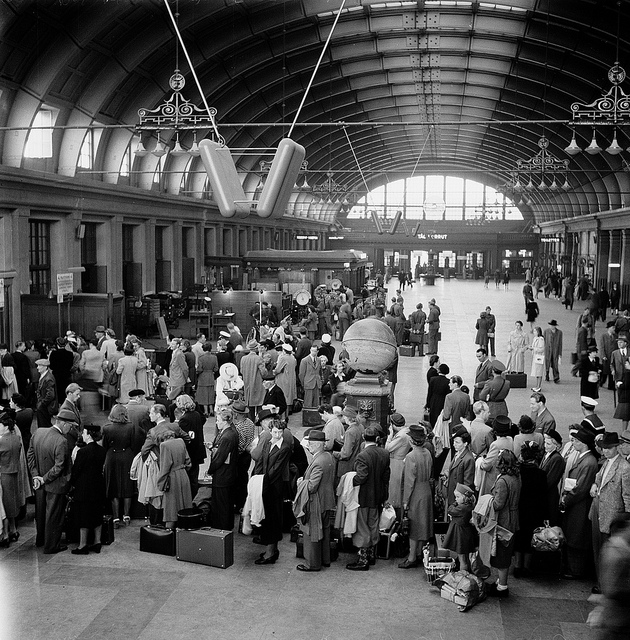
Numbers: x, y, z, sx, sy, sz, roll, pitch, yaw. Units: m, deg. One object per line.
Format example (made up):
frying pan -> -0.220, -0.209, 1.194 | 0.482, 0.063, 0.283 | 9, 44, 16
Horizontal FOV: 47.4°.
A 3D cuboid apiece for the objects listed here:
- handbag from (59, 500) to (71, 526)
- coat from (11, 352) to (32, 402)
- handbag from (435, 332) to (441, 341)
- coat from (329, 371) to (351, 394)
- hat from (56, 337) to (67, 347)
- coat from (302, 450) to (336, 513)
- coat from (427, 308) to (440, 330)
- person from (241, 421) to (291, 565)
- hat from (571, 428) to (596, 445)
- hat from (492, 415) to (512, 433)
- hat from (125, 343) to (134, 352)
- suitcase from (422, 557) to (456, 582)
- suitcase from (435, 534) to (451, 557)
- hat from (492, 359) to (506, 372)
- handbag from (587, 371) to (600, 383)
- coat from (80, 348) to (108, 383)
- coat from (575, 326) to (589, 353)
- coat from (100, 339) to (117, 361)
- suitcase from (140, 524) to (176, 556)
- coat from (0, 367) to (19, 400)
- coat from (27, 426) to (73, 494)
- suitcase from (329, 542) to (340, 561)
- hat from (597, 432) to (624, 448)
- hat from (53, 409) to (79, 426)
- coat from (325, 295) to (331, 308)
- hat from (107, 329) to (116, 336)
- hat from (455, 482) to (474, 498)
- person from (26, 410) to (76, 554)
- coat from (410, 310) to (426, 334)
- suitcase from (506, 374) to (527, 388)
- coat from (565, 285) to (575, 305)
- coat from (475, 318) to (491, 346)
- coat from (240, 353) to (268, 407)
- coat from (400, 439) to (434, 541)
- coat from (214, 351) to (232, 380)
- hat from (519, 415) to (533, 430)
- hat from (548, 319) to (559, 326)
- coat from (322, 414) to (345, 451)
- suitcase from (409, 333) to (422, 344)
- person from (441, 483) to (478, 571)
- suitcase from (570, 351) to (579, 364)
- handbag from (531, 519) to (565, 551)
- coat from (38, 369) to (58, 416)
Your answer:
handbag -> -3.047, 2.341, 8.631 | 0.056, 0.253, 0.251 | 16, -36, 3
coat -> -5.897, 1.113, 14.208 | 0.357, 1.252, 0.275 | 10, -43, -38
handbag -> 4.212, 0.564, 24.647 | 0.174, 0.376, 0.357 | 2, 5, 26
coat -> 0.521, 1.310, 15.275 | 0.482, 0.633, 0.314 | 0, -3, -3
hat -> -5.325, 0.426, 14.970 | 0.090, 0.241, 0.216 | -4, -9, 40
coat -> 0.070, 1.828, 8.137 | 0.210, 0.703, 0.515 | 0, -3, 38
coat -> 3.896, -0.048, 24.167 | 0.490, 0.855, 0.626 | 5, 10, 25
person -> -0.540, 2.018, 8.442 | 0.514, 1.652, 0.369 | 2, -2, -20
hat -> 2.984, 1.305, 8.007 | 0.246, 0.186, 0.309 | 0, -3, 22
hat -> 2.183, 1.223, 8.403 | 0.195, 0.185, 0.341 | 1, -3, 14
hat -> -3.745, 0.555, 14.436 | 0.162, 0.163, 0.197 | 2, -2, -15
suitcase -> 1.358, 2.720, 7.868 | 0.205, 0.227, 0.304 | 0, -3, 0
suitcase -> 1.446, 2.576, 8.148 | 0.070, 0.264, 0.269 | 25, -5, -4
hat -> 3.387, 0.852, 13.243 | 0.206, 0.207, 0.424 | 1, -3, 14
handbag -> 6.097, 1.237, 15.726 | 0.204, 0.244, 0.221 | 5, -17, 11
coat -> -4.745, 0.966, 15.299 | 0.498, 0.744, 0.351 | 2, -2, -17
coat -> 6.976, 0.500, 18.756 | 0.264, 0.659, 0.606 | 1, -2, 20
coat -> -4.444, 0.647, 15.398 | 0.108, 0.374, 0.381 | 9, 6, 33
suitcase -> -1.897, 2.676, 8.696 | 0.533, 0.308, 0.152 | 1, -2, 18
coat -> -5.867, 1.215, 13.878 | 0.223, 0.598, 0.518 | 1, -2, 5
coat -> -3.144, 1.667, 8.511 | 0.598, 0.767, 0.422 | 2, -2, -6
suitcase -> 0.234, 2.770, 8.614 | 0.107, 0.199, 0.419 | 1, -3, 4
hat -> 3.110, 1.273, 7.590 | 0.329, 0.176, 0.415 | -4, -1, 22
hat -> -3.070, 1.211, 8.888 | 0.326, 0.201, 0.272 | 3, -3, -37
coat -> 0.484, -0.763, 28.978 | 0.188, 0.519, 0.480 | 1, -2, -1
hat -> -4.525, 0.299, 15.993 | 0.130, 0.050, 0.165 | 24, -18, 43
hat -> 1.634, 1.867, 7.844 | 0.157, 0.125, 0.269 | 0, -3, 25
person -> -3.164, 1.945, 8.553 | 0.497, 1.667, 0.569 | 2, -2, -24
coat -> 3.645, 0.077, 25.439 | 0.520, 0.922, 0.387 | 6, 34, 20
suitcase -> 5.194, 1.563, 18.599 | 0.510, 0.468, 0.568 | 0, 4, 8
coat -> 13.999, -1.458, 39.469 | 0.334, 0.954, 1.066 | 1, -2, 13
coat -> 5.156, 0.353, 22.104 | 0.348, 0.857, 0.696 | 0, -2, 24
coat -> -1.243, 1.227, 14.557 | 0.506, 1.090, 0.566 | 1, -2, 20
coat -> 1.180, 1.975, 8.276 | 0.338, 1.166, 0.246 | 1, -2, 15
coat -> -2.042, 1.004, 15.947 | 0.436, 0.559, 0.175 | -10, 11, -42
hat -> 2.390, 1.160, 8.154 | 0.098, 0.175, 0.092 | -3, -9, 12
hat -> 7.315, 0.066, 22.095 | 0.272, 0.148, 0.346 | 6, -8, 4
coat -> 0.228, 1.495, 9.653 | 0.211, 0.413, 0.432 | 1, -3, 15
suitcase -> 3.553, 0.623, 25.274 | 0.429, 0.363, 0.261 | 5, -21, -4
person -> 1.602, 2.295, 7.932 | 0.363, 0.973, 0.496 | 1, -2, 14
suitcase -> 6.959, 1.014, 19.259 | 0.227, 0.357, 0.452 | 1, 10, 10
handbag -> 2.537, 2.334, 7.792 | 0.248, 0.281, 0.266 | 2, -4, -5
coat -> -4.586, 1.253, 12.430 | 0.269, 0.790, 0.647 | 1, -2, 3
